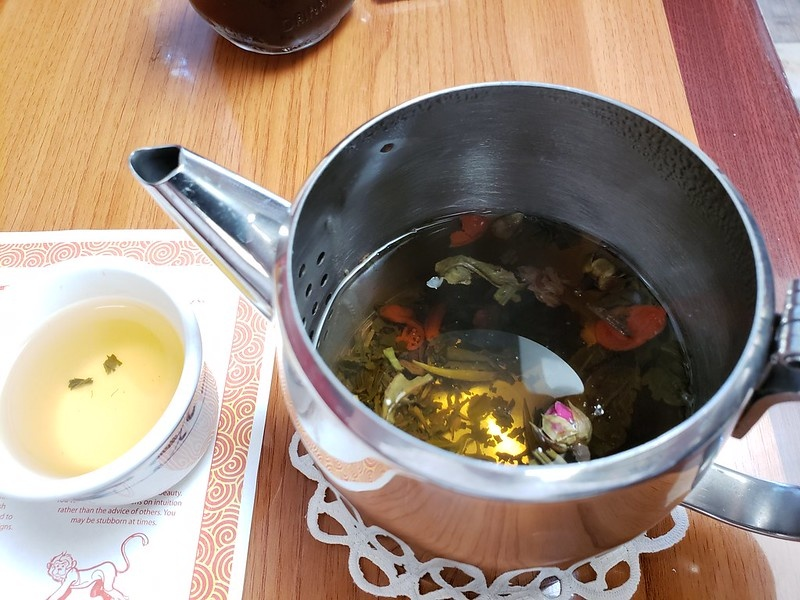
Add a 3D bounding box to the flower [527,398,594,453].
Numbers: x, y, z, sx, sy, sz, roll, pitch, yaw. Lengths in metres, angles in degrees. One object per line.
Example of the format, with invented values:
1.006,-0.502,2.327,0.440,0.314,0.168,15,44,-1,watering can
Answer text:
0.136,0.117,0.604,0.041,0.024,0.043,-41,57,-8,flower
